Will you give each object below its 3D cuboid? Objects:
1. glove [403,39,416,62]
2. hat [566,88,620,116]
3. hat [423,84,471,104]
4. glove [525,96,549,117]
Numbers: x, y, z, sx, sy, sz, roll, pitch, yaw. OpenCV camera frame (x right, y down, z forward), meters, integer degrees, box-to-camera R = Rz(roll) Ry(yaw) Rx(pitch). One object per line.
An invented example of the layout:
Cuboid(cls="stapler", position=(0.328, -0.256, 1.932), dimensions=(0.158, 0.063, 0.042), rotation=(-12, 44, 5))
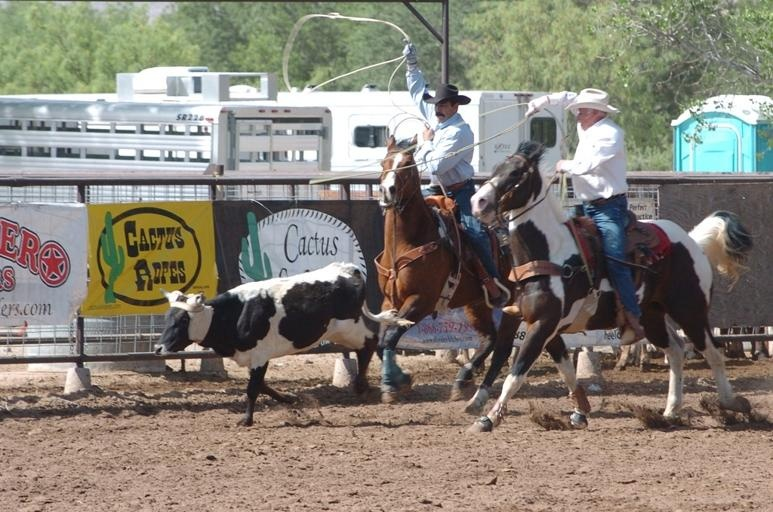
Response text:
Cuboid(cls="glove", position=(0.413, -3.909, 29.921), dimensions=(0.177, 0.391, 0.308), rotation=(3, 7, 14))
Cuboid(cls="hat", position=(3.804, -2.906, 28.393), dimensions=(0.648, 0.240, 0.574), rotation=(16, -11, -27))
Cuboid(cls="hat", position=(1.171, -3.076, 29.830), dimensions=(0.906, 0.415, 0.737), rotation=(-1, 3, 1))
Cuboid(cls="glove", position=(2.765, -2.699, 28.303), dimensions=(0.402, 0.350, 0.379), rotation=(-1, 3, 5))
